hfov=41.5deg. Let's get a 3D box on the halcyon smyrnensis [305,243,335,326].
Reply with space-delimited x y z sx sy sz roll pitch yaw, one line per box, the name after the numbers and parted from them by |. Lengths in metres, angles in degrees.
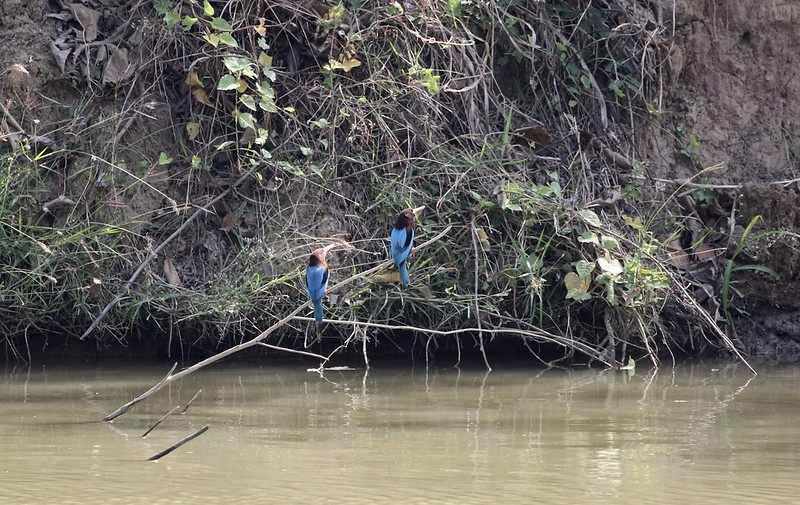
-0.619 0.256 8.300 0.196 0.621 0.539 -1 5 5 | halcyon smyrnensis
